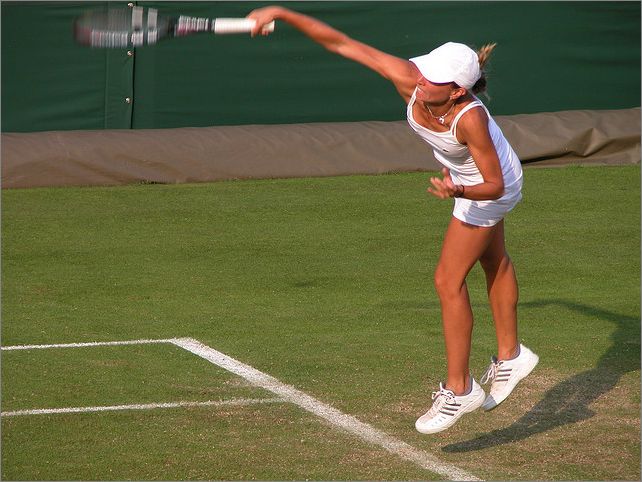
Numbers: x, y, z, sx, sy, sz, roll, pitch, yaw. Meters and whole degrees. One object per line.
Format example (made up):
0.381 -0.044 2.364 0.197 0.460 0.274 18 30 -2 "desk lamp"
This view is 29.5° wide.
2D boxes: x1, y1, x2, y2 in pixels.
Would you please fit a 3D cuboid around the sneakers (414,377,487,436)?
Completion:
0.887 1.134 8.270 0.545 0.215 0.171 -29 36 -12 "sneakers"

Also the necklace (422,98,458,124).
0.791 -0.851 8.025 0.172 0.176 0.076 0 9 18 "necklace"

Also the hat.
0.851 -1.156 7.972 0.431 0.185 0.288 17 20 -31 "hat"
